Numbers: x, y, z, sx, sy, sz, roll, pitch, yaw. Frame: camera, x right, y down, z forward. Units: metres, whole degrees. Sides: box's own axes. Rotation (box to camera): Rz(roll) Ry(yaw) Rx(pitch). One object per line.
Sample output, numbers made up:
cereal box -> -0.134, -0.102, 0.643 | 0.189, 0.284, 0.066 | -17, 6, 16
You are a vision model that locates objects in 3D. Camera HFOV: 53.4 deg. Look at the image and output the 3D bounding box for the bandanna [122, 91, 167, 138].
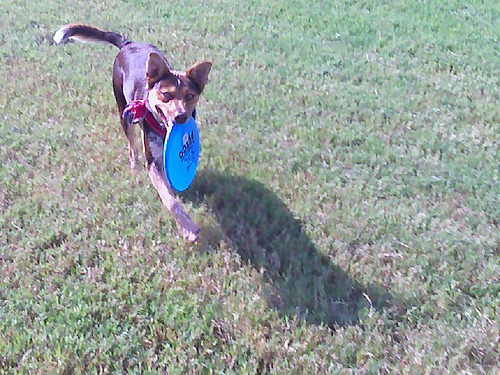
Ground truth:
bandanna -> -1.392, -0.985, 6.636 | 0.707, 0.402, 0.247 | 50, 20, 0
